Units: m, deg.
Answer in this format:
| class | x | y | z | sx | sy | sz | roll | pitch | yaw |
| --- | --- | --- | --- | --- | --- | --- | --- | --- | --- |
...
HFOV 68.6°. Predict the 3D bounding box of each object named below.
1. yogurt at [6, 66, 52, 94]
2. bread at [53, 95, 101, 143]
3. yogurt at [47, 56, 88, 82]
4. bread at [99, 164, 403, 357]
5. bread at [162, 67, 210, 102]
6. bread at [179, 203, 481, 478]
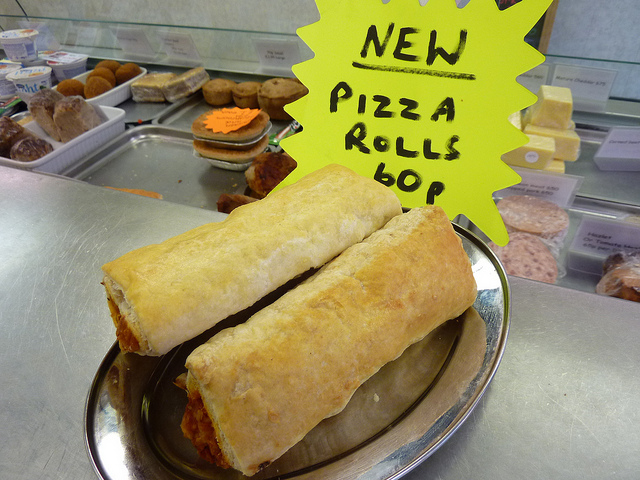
| class | x | y | z | sx | sy | sz | roll | pitch | yaw |
| --- | --- | --- | --- | --- | --- | --- | --- | --- | --- |
| yogurt | -1.220 | -0.680 | 1.979 | 0.162 | 0.078 | 0.177 | -26 | 44 | -27 |
| bread | -0.827 | -0.398 | 1.594 | 0.124 | 0.159 | 0.049 | -39 | 44 | -20 |
| yogurt | -1.157 | -0.787 | 2.165 | 0.166 | 0.103 | 0.127 | -23 | 42 | -24 |
| bread | -0.103 | 0.052 | 0.915 | 0.524 | 0.152 | 0.265 | -27 | 55 | -19 |
| bread | -0.553 | -0.654 | 1.975 | 0.061 | 0.086 | 0.239 | 20 | 44 | 27 |
| bread | 0.034 | 0.177 | 0.879 | 0.598 | 0.229 | 0.276 | -34 | 56 | -11 |
